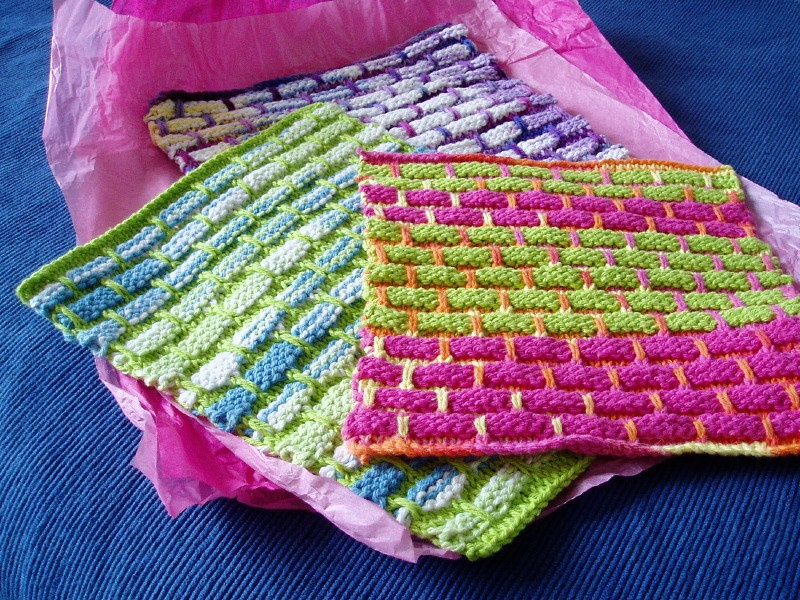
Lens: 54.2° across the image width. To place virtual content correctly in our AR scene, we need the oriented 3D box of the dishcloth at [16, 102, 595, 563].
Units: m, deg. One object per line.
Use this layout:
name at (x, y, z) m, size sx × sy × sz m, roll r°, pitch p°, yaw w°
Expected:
dishcloth at (-0.051, 0.016, 1.250) m, size 0.781 × 0.288 × 0.579 m, roll 27°, pitch 64°, yaw 29°
